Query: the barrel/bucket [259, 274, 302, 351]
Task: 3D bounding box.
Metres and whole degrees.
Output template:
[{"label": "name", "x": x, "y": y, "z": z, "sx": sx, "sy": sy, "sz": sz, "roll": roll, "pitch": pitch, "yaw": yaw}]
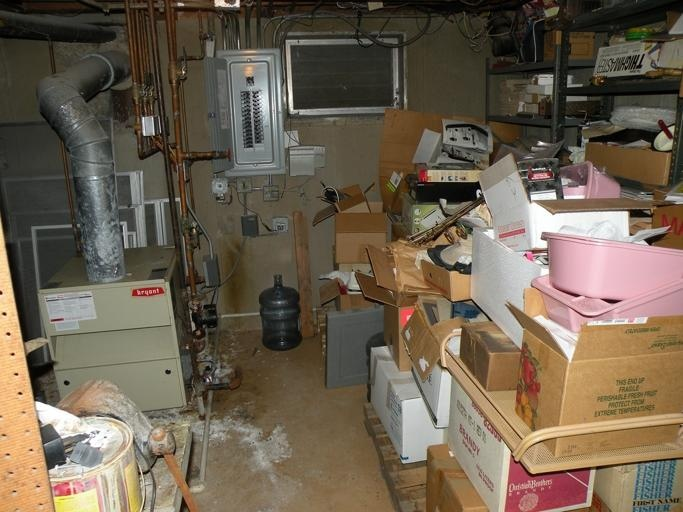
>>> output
[{"label": "barrel/bucket", "x": -0.570, "y": 0.516, "z": 4.838, "sx": 0.363, "sy": 0.676, "sz": 0.373, "roll": -1, "pitch": 17, "yaw": 0}]
